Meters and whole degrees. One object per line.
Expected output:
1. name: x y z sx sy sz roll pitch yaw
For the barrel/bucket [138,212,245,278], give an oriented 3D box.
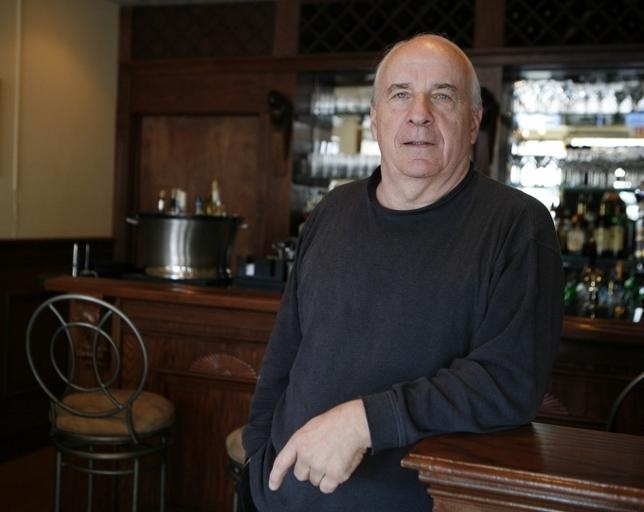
1. barrel/bucket: -0.592 -0.049 2.963 0.455 0.289 0.196 -2 8 -18
